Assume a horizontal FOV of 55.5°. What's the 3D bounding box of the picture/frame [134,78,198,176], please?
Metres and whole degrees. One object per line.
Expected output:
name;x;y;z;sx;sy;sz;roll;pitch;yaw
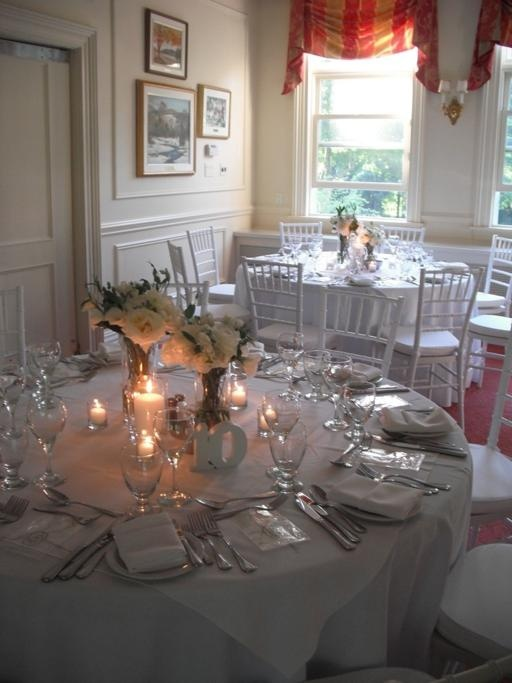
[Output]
picture/frame;-0.850;-2.004;4.501;0.078;0.969;1.018;11;16;31

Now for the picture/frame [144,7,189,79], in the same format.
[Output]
picture/frame;-0.803;-2.671;4.417;0.037;0.485;0.517;20;27;27

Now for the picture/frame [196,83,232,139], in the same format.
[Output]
picture/frame;-0.402;-2.451;5.213;0.073;0.499;0.609;-16;35;-31

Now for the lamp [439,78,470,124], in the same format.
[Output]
lamp;2.053;-2.479;5.063;0.281;0.450;0.137;19;41;32
